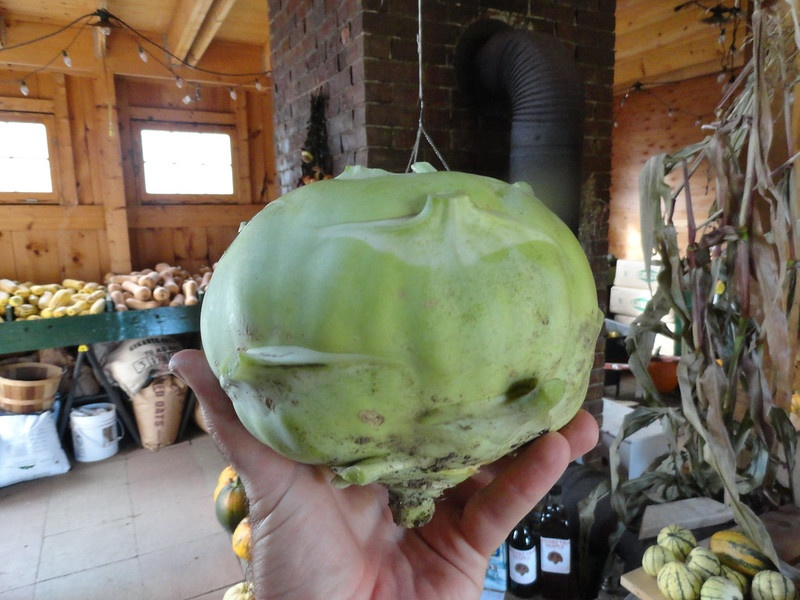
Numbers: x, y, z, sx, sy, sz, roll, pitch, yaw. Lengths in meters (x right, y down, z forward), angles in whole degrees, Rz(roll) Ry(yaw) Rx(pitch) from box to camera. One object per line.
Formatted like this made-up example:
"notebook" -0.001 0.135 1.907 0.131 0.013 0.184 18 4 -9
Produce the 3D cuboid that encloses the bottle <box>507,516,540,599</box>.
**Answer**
"bottle" 0.486 1.036 2.205 0.123 0.341 0.085 -8 16 -25
